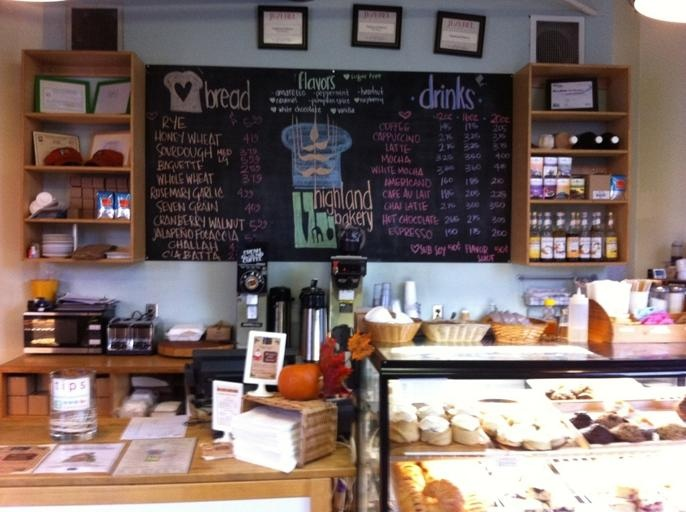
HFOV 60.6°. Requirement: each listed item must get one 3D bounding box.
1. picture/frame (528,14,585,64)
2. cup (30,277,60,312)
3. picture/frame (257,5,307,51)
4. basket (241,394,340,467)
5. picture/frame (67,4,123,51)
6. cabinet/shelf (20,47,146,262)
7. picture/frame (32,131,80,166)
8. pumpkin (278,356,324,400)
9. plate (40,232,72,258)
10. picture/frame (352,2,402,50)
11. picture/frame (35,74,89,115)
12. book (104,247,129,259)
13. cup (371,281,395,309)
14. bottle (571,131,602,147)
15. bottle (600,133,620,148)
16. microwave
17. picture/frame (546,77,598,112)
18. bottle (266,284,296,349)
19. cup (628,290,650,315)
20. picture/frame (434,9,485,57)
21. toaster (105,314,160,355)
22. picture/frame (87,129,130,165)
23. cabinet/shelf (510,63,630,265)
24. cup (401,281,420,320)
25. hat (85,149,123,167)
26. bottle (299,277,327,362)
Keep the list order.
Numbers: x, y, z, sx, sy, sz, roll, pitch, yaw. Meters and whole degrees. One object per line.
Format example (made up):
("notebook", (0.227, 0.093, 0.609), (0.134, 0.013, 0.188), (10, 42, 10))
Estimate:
("picture/frame", (1.681, -1.687, 4.602), (0.522, 0.409, 0.036), (0, 3, 1))
("cup", (-2.198, 0.273, 4.352), (0.236, 0.230, 0.219), (2, -4, 0))
("picture/frame", (-0.465, -1.757, 4.495), (0.356, 0.276, 0.027), (1, 2, -7))
("basket", (-0.260, 0.819, 2.897), (0.492, 0.316, 0.329), (0, -1, 41))
("picture/frame", (-1.829, -1.669, 4.427), (0.415, 0.351, 0.338), (1, 14, -10))
("cabinet/shelf", (-1.914, -0.728, 4.356), (0.895, 1.681, 0.359), (-3, 0, 3))
("picture/frame", (-2.127, -0.783, 4.323), (0.320, 0.218, 0.031), (-2, -16, -41))
("pumpkin", (-0.207, 0.598, 2.889), (0.185, 0.147, 0.180), (0, 3, -29))
("plate", (-2.130, -0.074, 4.358), (0.191, 0.131, 0.189), (3, 2, 34))
("picture/frame", (0.261, -1.787, 4.545), (0.368, 0.278, 0.031), (3, 3, -2))
("picture/frame", (-2.110, -1.196, 4.373), (0.392, 0.260, 0.041), (0, -6, -31))
("book", (-1.683, -0.021, 4.388), (0.173, 0.100, 0.278), (-3, 0, -21))
("cup", (0.306, 0.297, 4.509), (0.164, 0.183, 0.233), (-3, 0, 2))
("bottle", (1.849, -0.864, 4.441), (0.217, 0.116, 0.049), (-2, 1, 20))
("bottle", (2.024, -0.860, 4.398), (0.168, 0.110, 0.088), (-3, 0, -20))
("microwave", (-2.000, 0.551, 4.234), (0.516, 0.283, 0.338), (0, -3, -5))
("picture/frame", (1.741, -1.213, 4.480), (0.477, 0.290, 0.242), (0, 2, 5))
("bottle", (-0.464, 0.466, 4.421), (0.161, 0.459, 0.313), (-3, 0, 12))
("cup", (1.630, 0.260, 3.205), (0.112, 0.120, 0.122), (-3, 0, 0))
("picture/frame", (0.898, -1.736, 4.584), (0.379, 0.288, 0.035), (7, 3, -6))
("toaster", (-1.564, 0.551, 4.387), (0.356, 0.233, 0.356), (4, 16, -4))
("picture/frame", (-1.758, -0.813, 4.430), (0.340, 0.305, 0.022), (-6, -33, -4))
("cabinet/shelf", (1.759, -0.667, 4.465), (0.779, 1.280, 0.407), (-1, 8, 9))
("cup", (0.528, 0.333, 4.557), (0.124, 0.281, 0.212), (-3, 0, 6))
("hat", (-1.735, -0.710, 4.314), (0.152, 0.072, 0.200), (2, 5, 3))
("bottle", (-0.208, 0.462, 4.168), (0.212, 0.578, 0.313), (-3, 0, -4))
